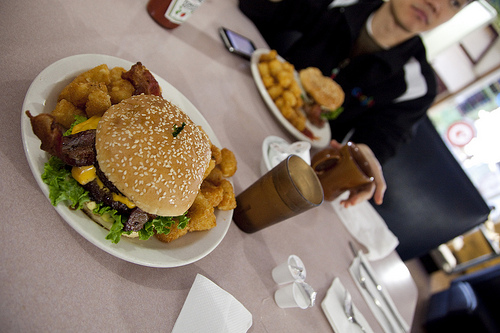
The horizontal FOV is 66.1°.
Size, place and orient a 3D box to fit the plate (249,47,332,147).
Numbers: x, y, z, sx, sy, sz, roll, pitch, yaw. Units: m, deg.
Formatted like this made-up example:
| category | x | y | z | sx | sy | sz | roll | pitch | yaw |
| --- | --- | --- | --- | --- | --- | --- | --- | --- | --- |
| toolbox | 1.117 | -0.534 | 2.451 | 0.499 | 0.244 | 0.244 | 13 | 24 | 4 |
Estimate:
| category | x | y | z | sx | sy | sz | roll | pitch | yaw |
| --- | --- | --- | --- | --- | --- | --- | --- | --- | --- |
| plate | 0.132 | -0.412 | 2.458 | 0.597 | 0.089 | 0.636 | 31 | 34 | -51 |

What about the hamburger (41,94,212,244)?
| category | x | y | z | sx | sy | sz | roll | pitch | yaw |
| --- | --- | --- | --- | --- | --- | --- | --- | --- | --- |
| hamburger | -0.477 | -0.065 | 1.765 | 0.659 | 0.215 | 0.598 | -22 | 68 | -40 |

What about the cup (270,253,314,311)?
| category | x | y | z | sx | sy | sz | roll | pitch | yaw |
| --- | --- | --- | --- | --- | --- | --- | --- | --- | --- |
| cup | 0.201 | 0.575 | 1.911 | 0.197 | 0.115 | 0.270 | 21 | 51 | -48 |

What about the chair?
| category | x | y | z | sx | sy | sz | roll | pitch | yaw |
| --- | --- | --- | --- | --- | --- | --- | --- | --- | --- |
| chair | 1.482 | 0.180 | 3.489 | 1.019 | 1.250 | 0.941 | -34 | 106 | -63 |

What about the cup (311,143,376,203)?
| category | x | y | z | sx | sy | sz | roll | pitch | yaw |
| --- | --- | --- | --- | --- | --- | --- | --- | --- | --- |
| cup | 0.512 | 0.033 | 2.223 | 0.388 | 0.378 | 0.235 | 11 | 58 | -7 |
